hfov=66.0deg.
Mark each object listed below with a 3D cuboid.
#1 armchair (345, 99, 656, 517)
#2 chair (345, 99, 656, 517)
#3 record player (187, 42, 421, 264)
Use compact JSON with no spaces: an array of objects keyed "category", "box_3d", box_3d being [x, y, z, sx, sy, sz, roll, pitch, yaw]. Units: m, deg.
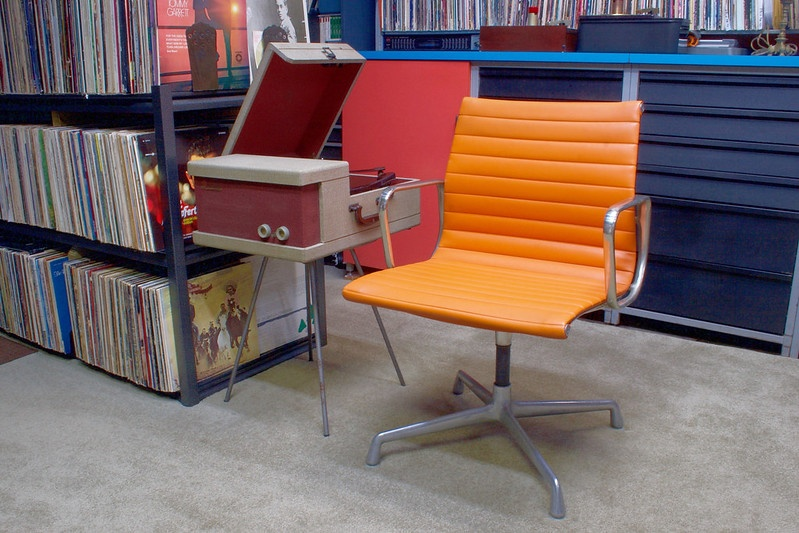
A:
[{"category":"armchair","box_3d":[0.371,0.027,2.151,0.963,1.169,0.994,4,17,20]},{"category":"chair","box_3d":[0.368,0.032,2.118,1.040,1.164,1.074,-2,16,0]},{"category":"record player","box_3d":[-0.363,-0.474,2.421,0.736,0.715,0.862,5,19,15]}]
